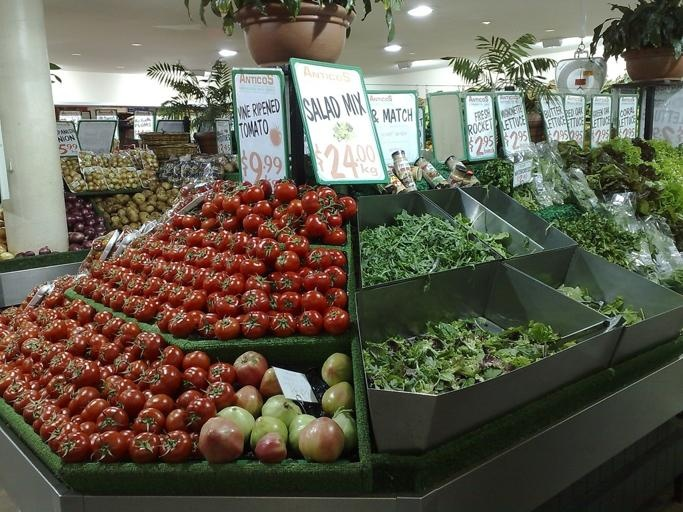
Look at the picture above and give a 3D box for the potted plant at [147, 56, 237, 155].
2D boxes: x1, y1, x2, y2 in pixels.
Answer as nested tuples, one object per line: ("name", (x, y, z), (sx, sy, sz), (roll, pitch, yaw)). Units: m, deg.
("potted plant", (-2.407, -2.846, 8.920), (1.715, 1.701, 1.590), (2, 5, -18))
